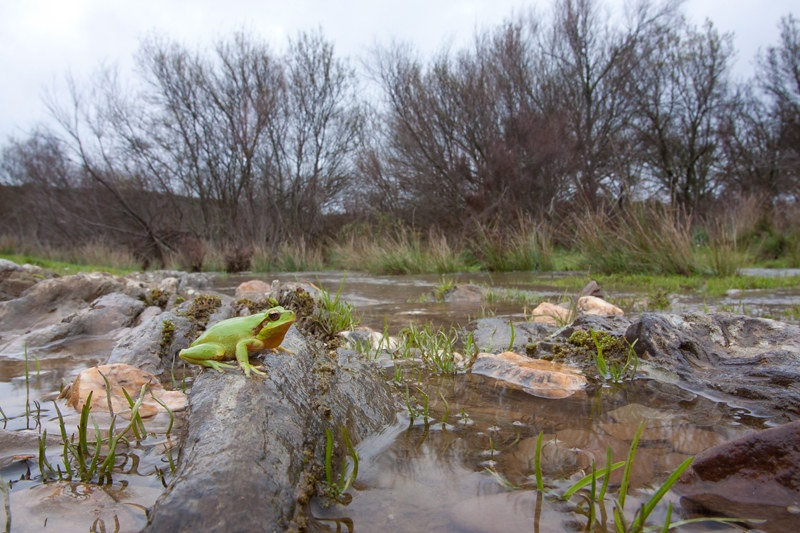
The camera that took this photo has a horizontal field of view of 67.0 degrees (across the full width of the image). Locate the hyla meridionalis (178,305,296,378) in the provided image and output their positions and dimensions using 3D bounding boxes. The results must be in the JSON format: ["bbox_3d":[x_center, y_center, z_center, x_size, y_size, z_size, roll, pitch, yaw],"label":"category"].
[{"bbox_3d":[-1.155,0.561,4.402,0.757,0.519,0.536,0,2,5],"label":"hyla meridionalis"}]
